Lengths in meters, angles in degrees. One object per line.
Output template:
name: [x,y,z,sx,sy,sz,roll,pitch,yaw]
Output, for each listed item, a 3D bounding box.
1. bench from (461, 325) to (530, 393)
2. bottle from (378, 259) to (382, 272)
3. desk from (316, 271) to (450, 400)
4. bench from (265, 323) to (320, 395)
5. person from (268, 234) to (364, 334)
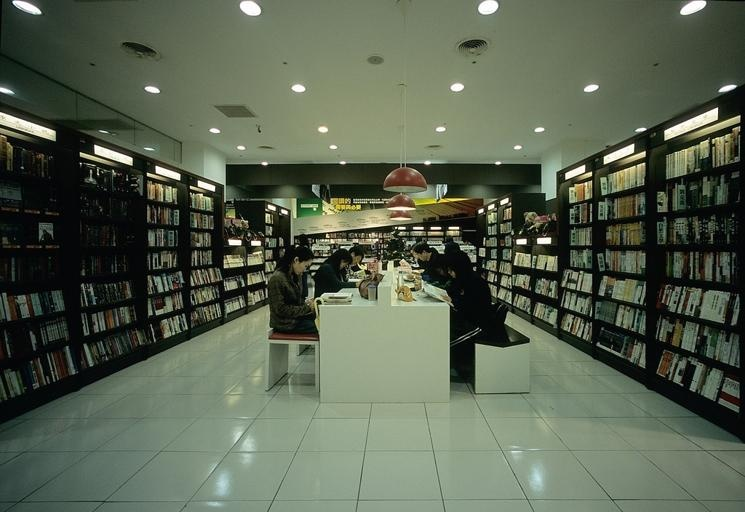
bench: [1.629,1.395,7.134,0.569,0.579,1.156,0,-2,4]
bottle: [0.136,0.160,9.933,0.106,0.201,0.203,0,-1,6]
desk: [0.205,1.136,7.505,1.271,1.262,1.930,0,-1,4]
bench: [-0.990,1.335,7.476,0.734,0.813,0.630,-3,3,12]
person: [-0.868,0.401,7.962,1.188,1.672,0.990,-1,4,-12]
